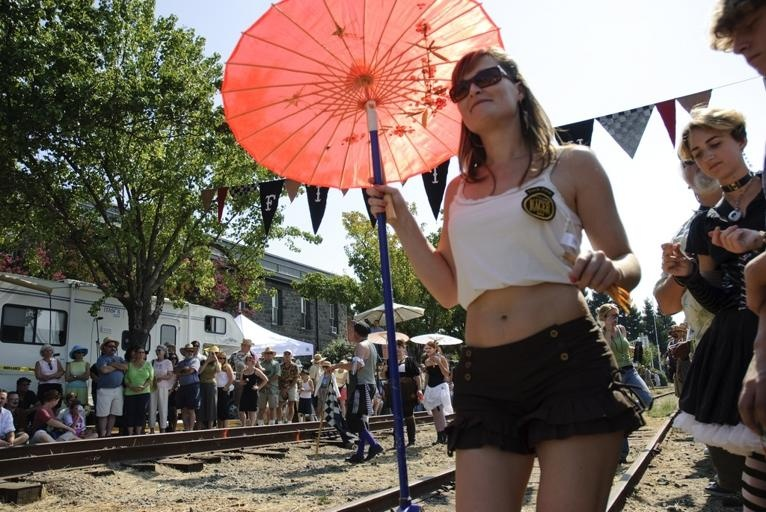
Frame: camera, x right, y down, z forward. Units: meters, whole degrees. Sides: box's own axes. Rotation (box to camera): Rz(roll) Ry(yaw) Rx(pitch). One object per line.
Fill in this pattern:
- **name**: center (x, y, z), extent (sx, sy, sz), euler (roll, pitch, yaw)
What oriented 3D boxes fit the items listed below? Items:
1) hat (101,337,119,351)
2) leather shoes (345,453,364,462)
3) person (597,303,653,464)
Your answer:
- **hat**: center (-5.782, 1.815, 12.655), extent (0.428, 0.192, 0.485), euler (-1, -30, -28)
- **leather shoes**: center (-0.487, 3.468, 10.336), extent (0.329, 0.141, 0.155), euler (-1, -12, 30)
- **person**: center (3.482, 1.752, 8.558), extent (0.785, 2.150, 0.730), euler (-14, -26, 25)
